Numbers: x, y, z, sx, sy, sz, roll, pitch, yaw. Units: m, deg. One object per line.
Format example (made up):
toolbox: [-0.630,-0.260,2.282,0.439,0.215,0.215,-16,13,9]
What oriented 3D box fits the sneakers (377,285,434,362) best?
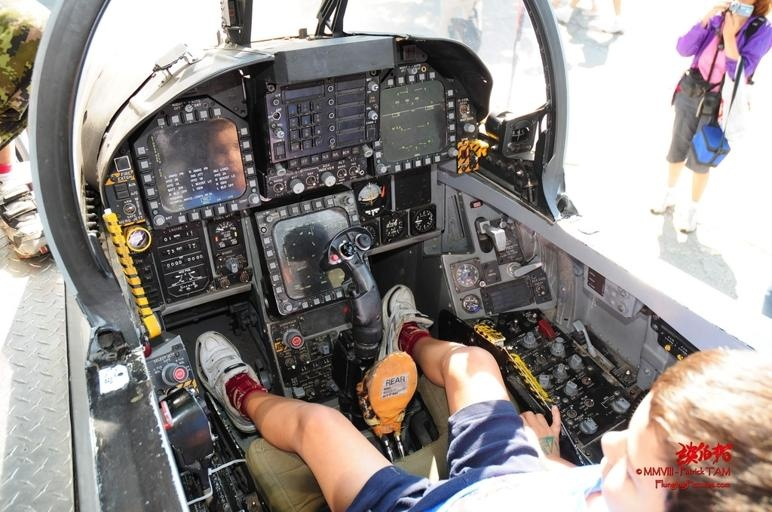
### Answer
sneakers: [0.146,0.445,3.539,0.301,0.219,0.665,-16,43,28]

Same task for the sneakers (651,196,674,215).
sneakers: [2.859,-0.516,5.156,0.078,0.147,0.227,-33,-15,-42]

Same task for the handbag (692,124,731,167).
handbag: [3.045,-1.060,4.667,0.200,0.251,0.347,-23,-5,-13]
